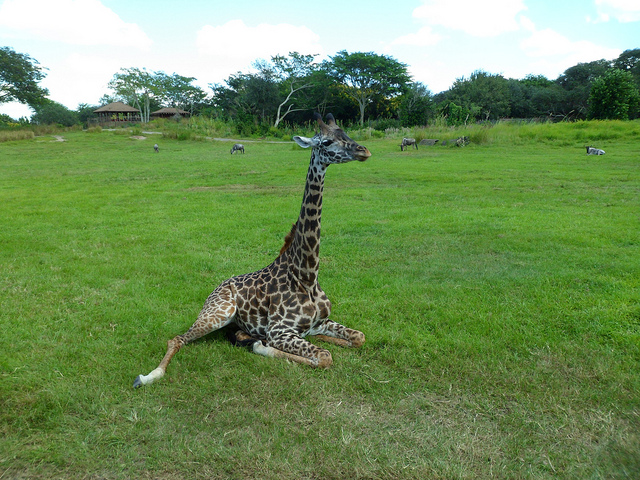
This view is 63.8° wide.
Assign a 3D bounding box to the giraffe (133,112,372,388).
[{"bbox_3d":[-0.551,-0.051,6.637,2.327,3.009,1.043,2,16,10],"label":"giraffe"}]
